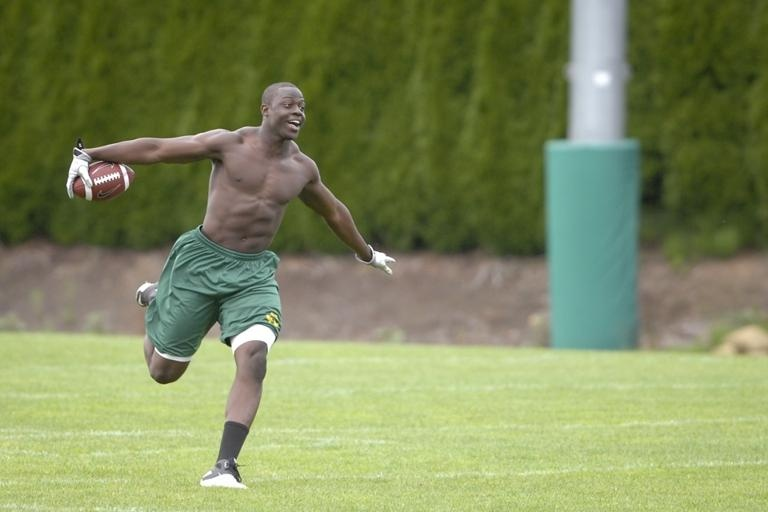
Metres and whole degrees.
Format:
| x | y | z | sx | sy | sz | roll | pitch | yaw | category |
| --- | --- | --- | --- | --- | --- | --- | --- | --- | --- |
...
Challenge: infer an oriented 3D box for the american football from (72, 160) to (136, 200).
| x | y | z | sx | sy | sz | roll | pitch | yaw | category |
| --- | --- | --- | --- | --- | --- | --- | --- | --- | --- |
| -2.742 | -0.732 | 15.919 | 0.629 | 0.378 | 0.395 | -22 | 28 | -34 | american football |

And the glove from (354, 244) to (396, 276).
| x | y | z | sx | sy | sz | roll | pitch | yaw | category |
| --- | --- | --- | --- | --- | --- | --- | --- | --- | --- |
| -0.096 | 0.030 | 19.558 | 0.441 | 0.137 | 0.270 | 20 | 36 | -13 | glove |
